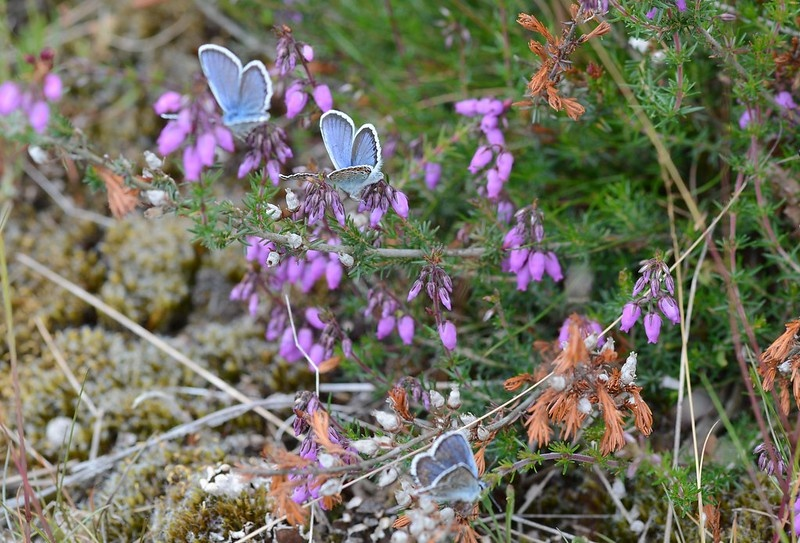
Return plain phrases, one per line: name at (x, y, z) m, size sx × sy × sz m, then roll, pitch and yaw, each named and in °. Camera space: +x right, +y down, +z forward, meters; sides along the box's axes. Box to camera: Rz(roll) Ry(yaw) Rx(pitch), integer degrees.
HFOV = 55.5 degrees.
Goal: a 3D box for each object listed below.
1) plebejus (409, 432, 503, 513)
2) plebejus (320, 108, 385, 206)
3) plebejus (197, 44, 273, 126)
plebejus at (0.293, 1.128, 4.354) m, size 0.275 × 0.436 × 0.422 m, roll 7°, pitch 13°, yaw -11°
plebejus at (-0.310, -0.641, 4.669) m, size 0.394 × 0.619 × 0.357 m, roll -11°, pitch 64°, yaw -22°
plebejus at (-0.975, -1.049, 4.552) m, size 0.398 × 0.511 × 0.327 m, roll -5°, pitch 41°, yaw -9°
